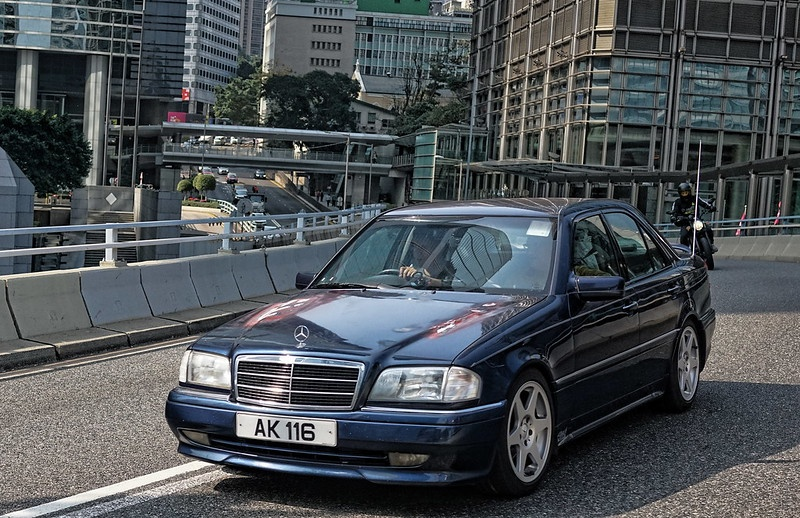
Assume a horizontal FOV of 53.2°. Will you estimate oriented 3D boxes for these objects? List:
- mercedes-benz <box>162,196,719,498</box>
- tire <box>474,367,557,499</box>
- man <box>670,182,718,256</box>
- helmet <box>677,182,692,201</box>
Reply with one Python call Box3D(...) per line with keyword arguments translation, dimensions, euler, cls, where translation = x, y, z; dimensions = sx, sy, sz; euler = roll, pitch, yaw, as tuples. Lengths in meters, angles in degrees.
Box3D(translation=(0.553, 0.643, 7.110), dimensions=(4.695, 2.188, 2.103), euler=(-7, 13, -37), cls="mercedes-benz")
Box3D(translation=(0.882, 1.364, 6.255), dimensions=(0.265, 0.931, 0.878), euler=(-5, -21, 42), cls="tire")
Box3D(translation=(6.606, -0.716, 17.919), dimensions=(0.997, 0.923, 1.776), euler=(-11, 16, 9), cls="man")
Box3D(translation=(6.310, -1.505, 17.638), dimensions=(0.346, 0.383, 0.442), euler=(-7, 2, 17), cls="helmet")
